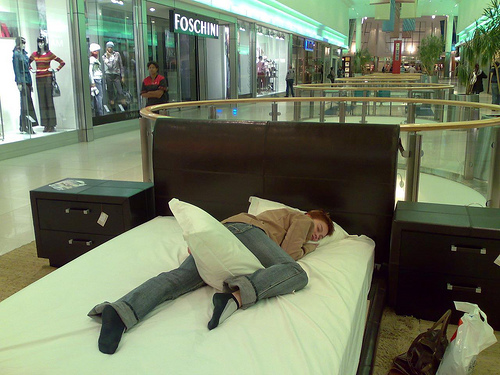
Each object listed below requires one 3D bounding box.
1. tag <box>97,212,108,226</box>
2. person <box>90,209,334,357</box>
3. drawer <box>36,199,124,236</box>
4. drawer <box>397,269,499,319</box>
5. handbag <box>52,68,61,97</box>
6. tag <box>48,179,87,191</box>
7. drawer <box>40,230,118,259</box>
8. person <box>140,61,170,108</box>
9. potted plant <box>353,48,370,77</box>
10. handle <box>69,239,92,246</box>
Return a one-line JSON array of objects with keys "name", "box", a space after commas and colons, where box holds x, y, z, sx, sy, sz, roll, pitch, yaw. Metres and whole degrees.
[{"name": "tag", "box": [-1.118, 0.238, 2.834, 0.058, 0.088, 0.023, 21, 4, 7]}, {"name": "person", "box": [-0.135, 0.440, 1.949, 0.507, 0.335, 1.079, 15, 19, 37]}, {"name": "drawer", "box": [-1.338, 0.228, 2.989, 0.463, 0.228, 0.340, 4, 10, 10]}, {"name": "drawer", "box": [1.237, 0.642, 2.289, 0.300, 0.219, 0.169, 3, 7, 23]}, {"name": "handbag", "box": [-3.981, -2.140, 7.634, 0.063, 0.539, 0.170, 9, 17, 30]}, {"name": "tag", "box": [-1.487, -0.024, 3.057, 0.240, 0.017, 0.272, 12, 19, 35]}, {"name": "drawer", "box": [-1.424, 0.442, 2.924, 0.397, 0.195, 0.304, 3, 7, 13]}, {"name": "person", "box": [-1.734, -1.866, 6.748, 0.479, 0.787, 0.690, -4, 15, -16]}, {"name": "potted plant", "box": [6.242, -7.122, 20.846, 0.736, 1.402, 2.252, 5, 16, 17]}, {"name": "handle", "box": [-1.330, 0.428, 2.902, 0.079, 0.020, 0.080, 7, 8, 19]}]
